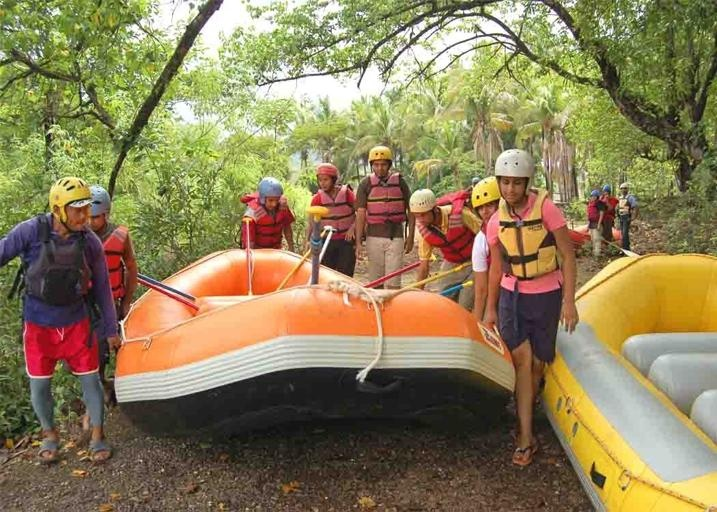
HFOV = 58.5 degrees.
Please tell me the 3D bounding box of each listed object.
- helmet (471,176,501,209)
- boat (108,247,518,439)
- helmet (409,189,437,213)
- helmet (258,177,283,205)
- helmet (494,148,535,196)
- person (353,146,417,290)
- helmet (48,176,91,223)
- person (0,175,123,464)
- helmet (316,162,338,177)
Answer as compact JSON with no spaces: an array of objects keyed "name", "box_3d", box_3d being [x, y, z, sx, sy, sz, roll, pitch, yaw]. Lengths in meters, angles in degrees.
[{"name":"helmet","box_3d":[1.269,-0.621,6.507,0.310,0.251,0.220,-37,20,-23]},{"name":"boat","box_3d":[-0.478,0.923,5.621,2.488,1.054,1.986,2,-10,16]},{"name":"helmet","box_3d":[0.685,-0.614,6.977,0.201,0.237,0.283,10,48,31]},{"name":"helmet","box_3d":[-1.128,-0.839,8.183,0.232,0.302,0.320,-8,17,-27]},{"name":"helmet","box_3d":[1.403,-0.756,5.647,0.265,0.406,0.365,-3,8,22]},{"name":"person","box_3d":[0.337,-0.285,8.465,0.706,2.353,0.588,-1,17,3]},{"name":"helmet","box_3d":[-2.503,-0.518,5.526,0.368,0.412,0.312,14,14,32]},{"name":"person","box_3d":[-2.600,0.605,5.657,0.861,2.558,0.475,-6,7,-22]},{"name":"helmet","box_3d":[-0.417,-1.122,8.396,0.222,0.196,0.294,-2,7,16]}]
